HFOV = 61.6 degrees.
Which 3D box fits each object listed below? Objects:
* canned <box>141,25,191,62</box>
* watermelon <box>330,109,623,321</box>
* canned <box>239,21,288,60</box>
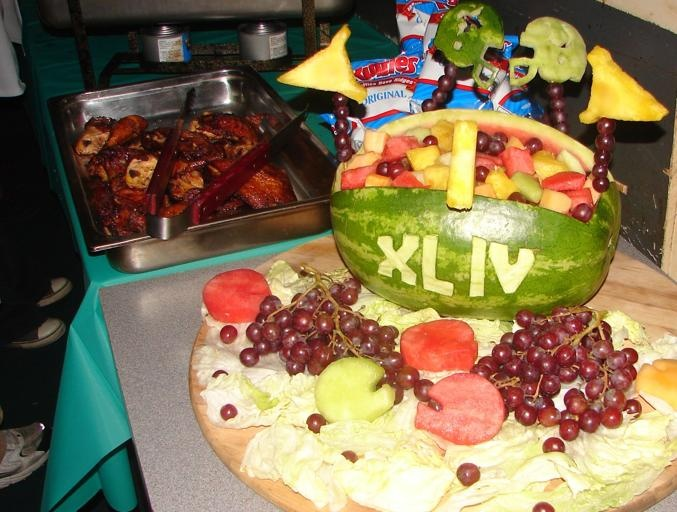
[{"bbox_3d":[-0.692,-0.846,2.277,0.191,0.123,0.149,-9,37,-12],"label":"canned"},{"bbox_3d":[0.274,-0.070,1.342,0.642,0.360,0.433,6,43,11],"label":"watermelon"},{"bbox_3d":[-0.302,-0.867,2.295,0.195,0.116,0.163,4,36,6],"label":"canned"}]
